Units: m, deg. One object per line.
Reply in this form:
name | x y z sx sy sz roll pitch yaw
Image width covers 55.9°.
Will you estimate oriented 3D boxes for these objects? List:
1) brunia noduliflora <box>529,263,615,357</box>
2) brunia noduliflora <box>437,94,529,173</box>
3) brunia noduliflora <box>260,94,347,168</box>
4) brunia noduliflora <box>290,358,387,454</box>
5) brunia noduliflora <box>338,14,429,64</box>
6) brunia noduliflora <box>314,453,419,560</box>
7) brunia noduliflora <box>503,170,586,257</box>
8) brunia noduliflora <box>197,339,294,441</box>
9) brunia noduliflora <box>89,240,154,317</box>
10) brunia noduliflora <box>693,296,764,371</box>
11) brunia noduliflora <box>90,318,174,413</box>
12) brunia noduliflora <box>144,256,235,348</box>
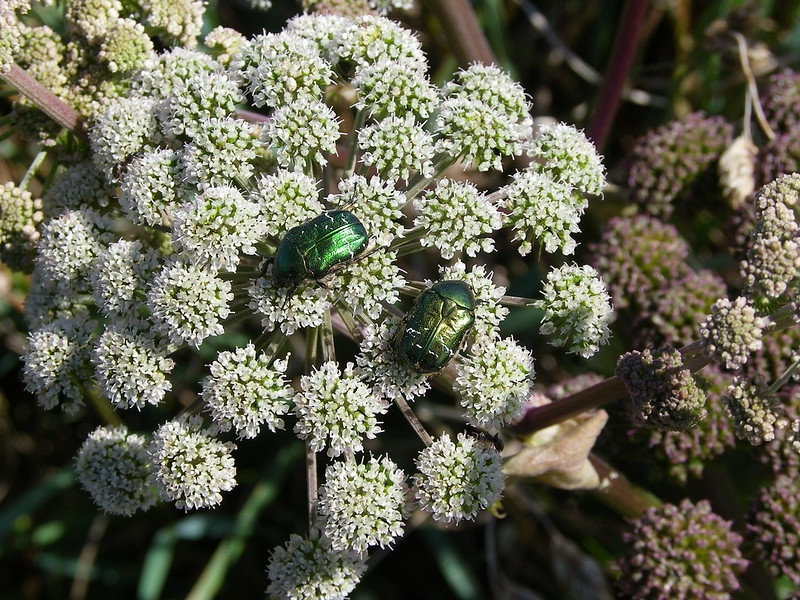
brunia noduliflora | 1.349 0.067 5.920 0.620 0.363 0.657 19 80 1
brunia noduliflora | 0.614 -1.293 5.916 0.716 0.280 0.495 28 81 3
brunia noduliflora | -0.719 -1.261 5.715 0.537 0.319 0.576 2 105 -6
brunia noduliflora | -0.477 0.810 5.580 0.670 0.212 0.634 43 82 5
brunia noduliflora | -0.175 -2.046 5.969 0.695 0.213 0.481 -6 81 -3
brunia noduliflora | -0.274 1.540 5.653 0.694 0.344 0.700 -7 81 -3
brunia noduliflora | 1.077 -0.698 5.845 0.629 0.253 0.578 14 80 0
brunia noduliflora | -1.119 0.673 5.553 0.651 0.208 0.644 -15 81 -4
brunia noduliflora | -2.099 -0.132 5.785 0.501 0.299 0.562 8 85 -4
brunia noduliflora | 2.277 0.212 5.230 0.369 0.217 0.432 40 82 5
brunia noduliflora | -2.002 0.511 5.787 0.606 0.490 0.641 -11 81 -3
brunia noduliflora | -1.566 0.038 5.592 0.602 0.281 0.596 15 80 1
